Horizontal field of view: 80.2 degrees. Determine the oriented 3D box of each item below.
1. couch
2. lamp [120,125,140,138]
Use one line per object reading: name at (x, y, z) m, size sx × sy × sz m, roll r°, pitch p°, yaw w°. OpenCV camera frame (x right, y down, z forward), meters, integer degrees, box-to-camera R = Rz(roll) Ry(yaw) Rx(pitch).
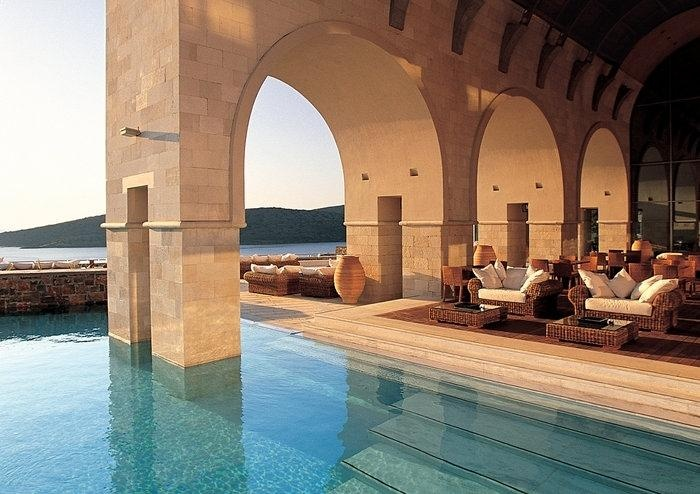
couch at (-2.011, 1.203, 16.619) m, size 2.650 × 0.798 × 2.380 m, roll 1°, pitch 3°, yaw 43°
lamp at (-4.910, -2.587, 9.342) m, size 0.376 × 0.110 × 0.348 m, roll 0°, pitch 0°, yaw 25°
